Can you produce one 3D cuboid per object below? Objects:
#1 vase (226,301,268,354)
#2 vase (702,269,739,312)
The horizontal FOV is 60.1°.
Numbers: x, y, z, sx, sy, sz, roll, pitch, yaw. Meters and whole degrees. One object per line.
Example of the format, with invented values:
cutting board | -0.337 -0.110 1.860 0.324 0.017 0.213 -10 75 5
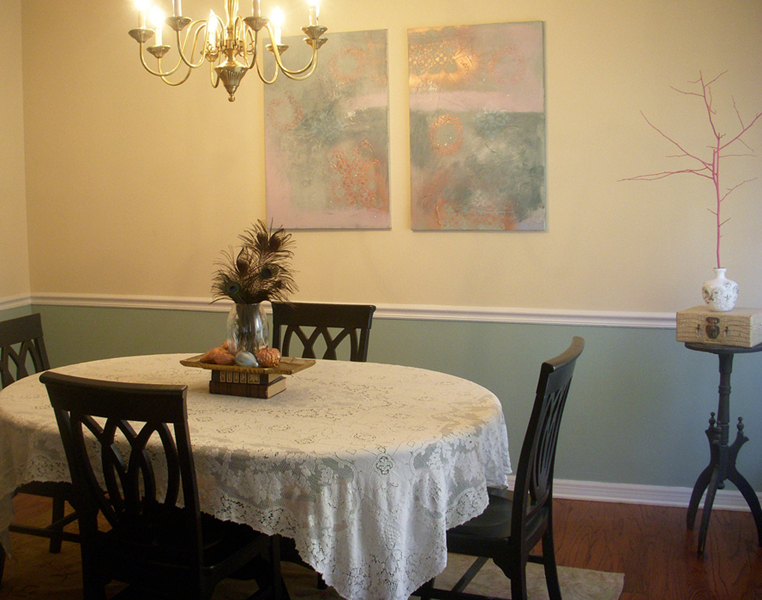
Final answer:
vase | -0.509 0.092 2.554 0.152 0.258 0.163 4 6 18
vase | 1.670 -0.051 3.262 0.146 0.222 0.160 -2 2 14
